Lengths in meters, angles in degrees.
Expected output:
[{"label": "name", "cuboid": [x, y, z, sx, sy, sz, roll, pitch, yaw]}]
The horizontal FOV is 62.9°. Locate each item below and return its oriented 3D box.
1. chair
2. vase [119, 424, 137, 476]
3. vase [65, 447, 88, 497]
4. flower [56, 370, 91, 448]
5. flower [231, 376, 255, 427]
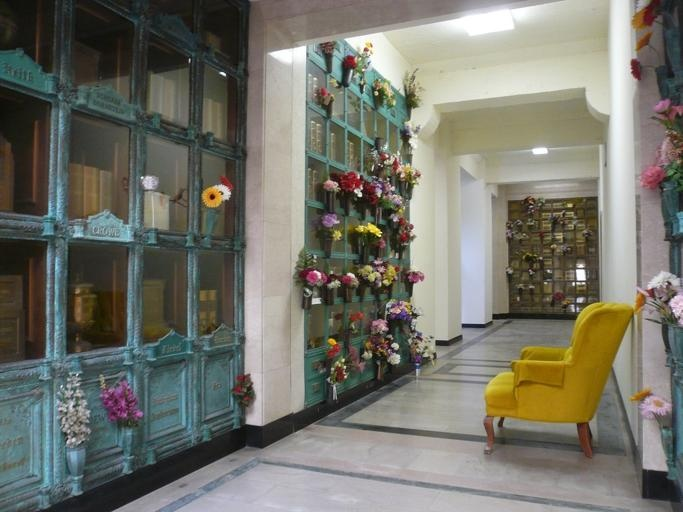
[{"label": "chair", "cuboid": [1.784, 0.920, 4.813, 1.240, 1.228, 1.219, -1, -5, 20]}, {"label": "vase", "cuboid": [-1.381, 1.248, 3.605, 0.104, 0.320, 0.077, 0, 1, -42]}, {"label": "vase", "cuboid": [-1.579, 1.273, 3.328, 0.066, 0.304, 0.118, 1, 1, 33]}, {"label": "flower", "cuboid": [-1.595, 0.906, 3.321, 0.082, 0.446, 0.189, 1, 1, 39]}, {"label": "flower", "cuboid": [-0.802, 1.163, 4.499, 0.097, 0.420, 0.180, 1, 1, 36]}]
